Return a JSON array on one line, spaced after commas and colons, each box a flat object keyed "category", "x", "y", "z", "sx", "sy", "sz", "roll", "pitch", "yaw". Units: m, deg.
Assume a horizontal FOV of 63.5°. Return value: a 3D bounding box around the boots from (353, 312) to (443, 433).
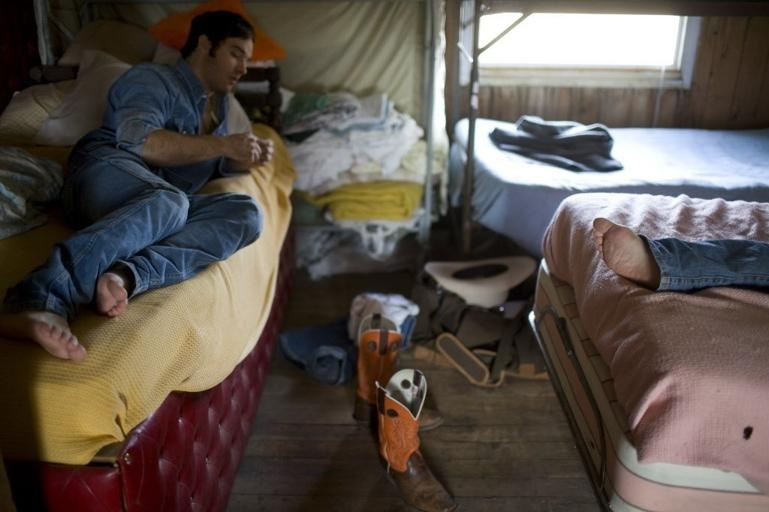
[{"category": "boots", "x": 0.054, "y": 0.511, "z": 2.512, "sx": 0.363, "sy": 0.155, "sz": 0.426, "roll": 9, "pitch": 54, "yaw": -4}]
